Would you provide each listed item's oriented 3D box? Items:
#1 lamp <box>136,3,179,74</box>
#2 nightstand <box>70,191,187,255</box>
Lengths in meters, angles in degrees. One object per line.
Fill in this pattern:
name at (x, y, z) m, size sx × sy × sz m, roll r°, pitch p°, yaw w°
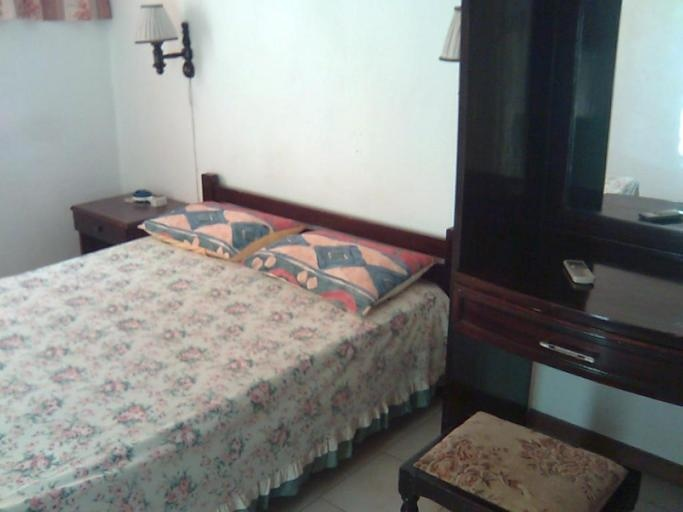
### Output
lamp at (-1.199, -1.416, 3.435) m, size 0.269 × 0.433 × 0.398 m, roll -9°, pitch 23°, yaw -17°
nightstand at (-1.532, -0.196, 3.778) m, size 0.590 × 0.595 × 0.474 m, roll 25°, pitch 35°, yaw 36°
